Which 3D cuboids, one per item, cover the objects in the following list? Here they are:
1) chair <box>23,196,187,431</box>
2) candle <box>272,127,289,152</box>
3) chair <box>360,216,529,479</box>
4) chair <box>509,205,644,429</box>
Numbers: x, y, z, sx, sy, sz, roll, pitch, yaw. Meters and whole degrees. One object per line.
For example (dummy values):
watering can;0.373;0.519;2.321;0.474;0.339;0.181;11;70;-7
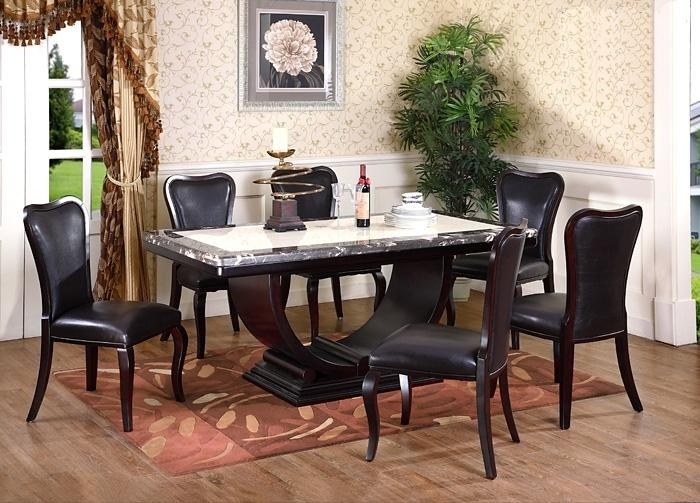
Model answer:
chair;-1.388;0.311;3.083;0.685;1.212;0.525;2;11;10
candle;-0.399;-0.631;3.098;0.081;0.132;0.123;-2;10;-11
chair;0.503;0.486;2.815;0.805;1.038;0.698;-1;2;17
chair;1.327;0.330;3.156;0.640;1.201;0.483;-5;12;-26
